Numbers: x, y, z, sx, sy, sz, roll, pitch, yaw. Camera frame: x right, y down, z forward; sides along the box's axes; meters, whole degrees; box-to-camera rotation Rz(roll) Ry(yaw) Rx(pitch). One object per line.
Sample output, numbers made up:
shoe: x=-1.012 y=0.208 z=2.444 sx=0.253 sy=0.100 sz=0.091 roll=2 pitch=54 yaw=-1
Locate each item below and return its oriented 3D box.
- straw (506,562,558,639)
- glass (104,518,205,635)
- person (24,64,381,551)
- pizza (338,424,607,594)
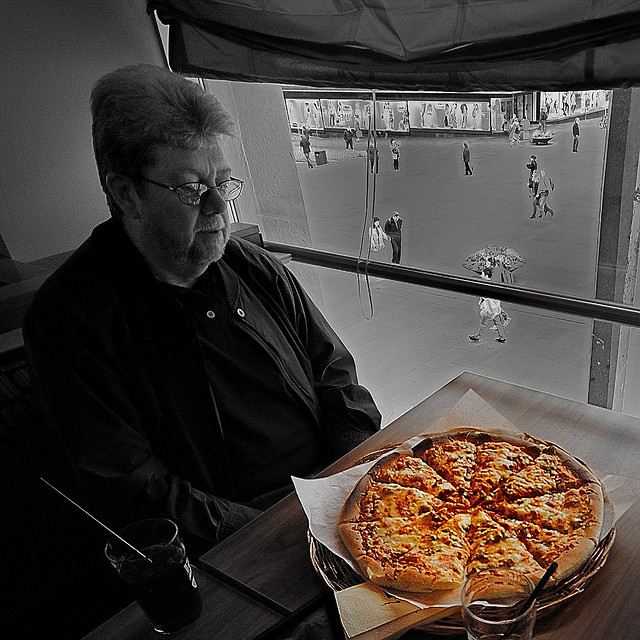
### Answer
straw: x=0.191 y=0.258 z=0.450 sx=0.011 sy=0.107 sz=0.008 roll=28 pitch=0 yaw=-24
glass: x=-0.190 y=0.300 z=0.581 sx=0.079 sy=0.107 sz=0.094 roll=-20 pitch=22 yaw=-29
person: x=-0.222 y=-0.043 z=1.125 sx=0.685 sy=0.924 sz=0.738 roll=13 pitch=27 yaw=28
pizza: x=0.193 y=0.228 z=0.640 sx=0.333 sy=0.027 sz=0.294 roll=-6 pitch=19 yaw=7
